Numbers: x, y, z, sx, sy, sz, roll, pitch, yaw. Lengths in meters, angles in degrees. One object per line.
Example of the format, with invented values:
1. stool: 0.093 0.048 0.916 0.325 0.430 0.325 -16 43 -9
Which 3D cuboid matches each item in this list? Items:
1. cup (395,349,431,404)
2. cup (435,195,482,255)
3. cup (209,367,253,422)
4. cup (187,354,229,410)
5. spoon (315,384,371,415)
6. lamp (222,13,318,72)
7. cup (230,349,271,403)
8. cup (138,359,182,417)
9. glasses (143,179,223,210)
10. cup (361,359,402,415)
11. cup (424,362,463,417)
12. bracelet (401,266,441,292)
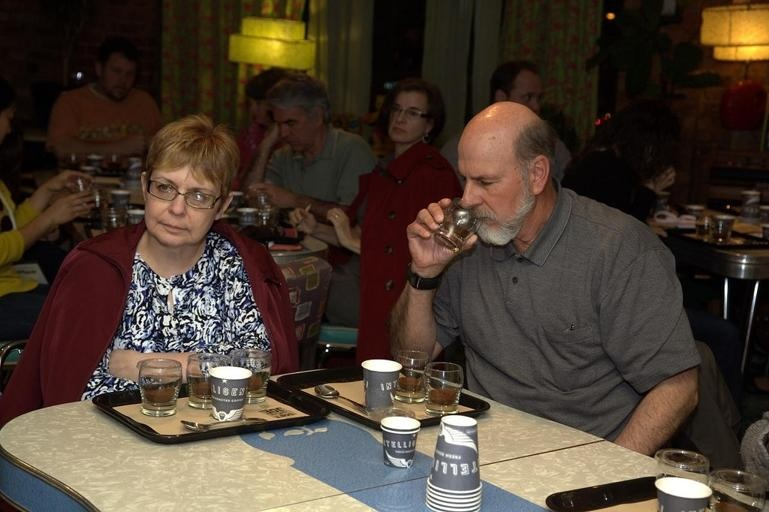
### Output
1. cup: 0.074 0.337 1.669 0.143 0.137 0.135 2 3 0
2. cup: 0.241 -0.104 1.931 0.135 0.148 0.114 34 -27 15
3. cup: -0.393 0.342 1.470 0.133 0.115 0.124 2 -5 0
4. cup: -0.489 0.339 1.572 0.129 0.131 0.129 2 -1 0
5. spoon: -0.131 0.386 1.629 0.053 0.026 0.241 -7 7 -30
6. lamp: -1.040 -1.994 5.494 0.848 0.398 0.240 12 21 18
7. cup: -0.357 0.325 1.612 0.136 0.134 0.134 1 2 0
8. cup: -0.572 0.330 1.483 0.143 0.139 0.133 2 -5 0
9. glasses: -0.664 -0.203 1.936 0.227 0.094 0.085 -1 8 -18
10. cup: -0.011 0.354 1.569 0.135 0.131 0.124 2 -7 0
11. cup: 0.155 0.359 1.592 0.138 0.133 0.132 1 -3 0
12. bracelet: 0.139 0.082 2.071 0.099 0.036 0.095 1 18 -7
